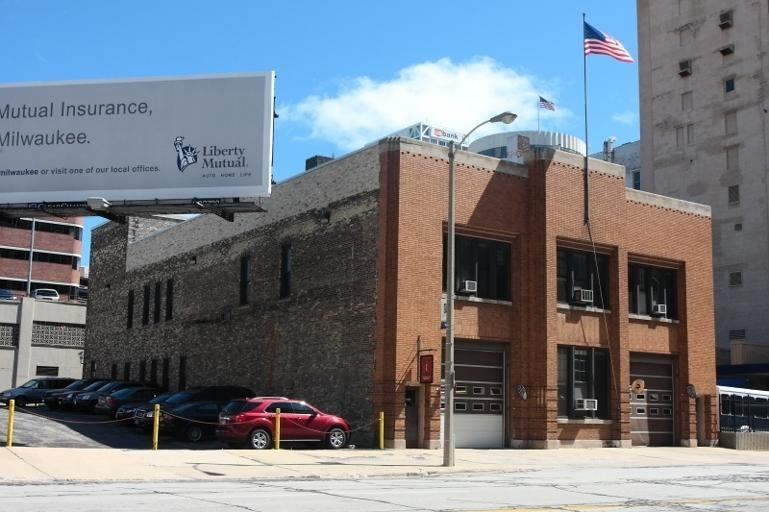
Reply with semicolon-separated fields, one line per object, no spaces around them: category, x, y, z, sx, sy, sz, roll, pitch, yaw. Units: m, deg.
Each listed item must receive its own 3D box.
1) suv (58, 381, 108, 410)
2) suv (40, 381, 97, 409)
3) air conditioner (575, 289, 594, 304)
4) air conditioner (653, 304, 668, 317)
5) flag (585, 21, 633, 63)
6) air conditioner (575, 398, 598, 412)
suv;-18.360;8.314;65.229;3.184;1.286;1.411;4;-12;-26
suv;-19.667;8.413;66.624;3.432;1.174;1.542;7;-11;-28
air conditioner;11.002;2.233;59.095;1.467;0.697;0.914;8;-2;-40
air conditioner;15.962;3.192;62.518;0.693;0.852;1.238;-5;-8;37
flag;12.508;-12.131;60.818;2.701;0.277;2.425;10;-45;19
air conditioner;10.867;8.038;58.386;0.879;0.508;0.863;6;-7;-40
